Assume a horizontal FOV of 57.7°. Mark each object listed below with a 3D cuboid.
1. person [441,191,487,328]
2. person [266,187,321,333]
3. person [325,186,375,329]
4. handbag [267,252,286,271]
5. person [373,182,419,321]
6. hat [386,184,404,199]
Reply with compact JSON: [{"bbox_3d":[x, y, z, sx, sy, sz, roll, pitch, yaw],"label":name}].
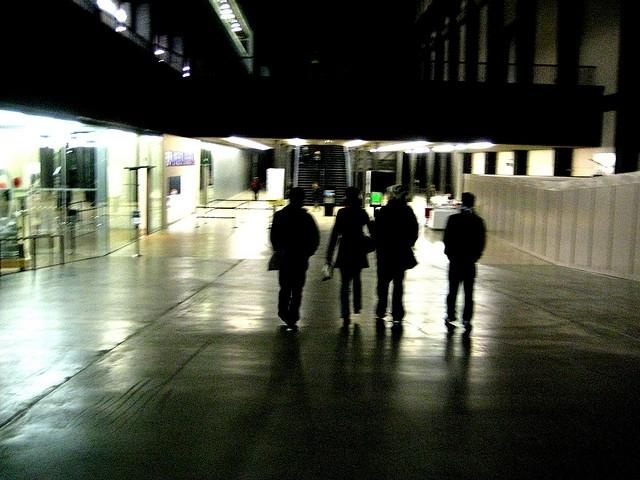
[{"bbox_3d":[1.978,0.273,7.952,0.548,1.834,0.524,2,6,12],"label":"person"},{"bbox_3d":[-0.339,0.242,7.551,0.663,1.852,0.475,1,6,-3],"label":"person"},{"bbox_3d":[0.407,0.209,8.029,0.616,1.871,0.632,1,6,2],"label":"person"},{"bbox_3d":[-0.600,0.269,7.412,0.175,0.243,0.268,-2,7,-30],"label":"handbag"},{"bbox_3d":[1.022,0.207,7.925,0.625,1.916,0.414,1,6,-2],"label":"person"},{"bbox_3d":[1.033,-0.662,7.874,0.180,0.197,0.078,-3,-13,22],"label":"hat"}]
